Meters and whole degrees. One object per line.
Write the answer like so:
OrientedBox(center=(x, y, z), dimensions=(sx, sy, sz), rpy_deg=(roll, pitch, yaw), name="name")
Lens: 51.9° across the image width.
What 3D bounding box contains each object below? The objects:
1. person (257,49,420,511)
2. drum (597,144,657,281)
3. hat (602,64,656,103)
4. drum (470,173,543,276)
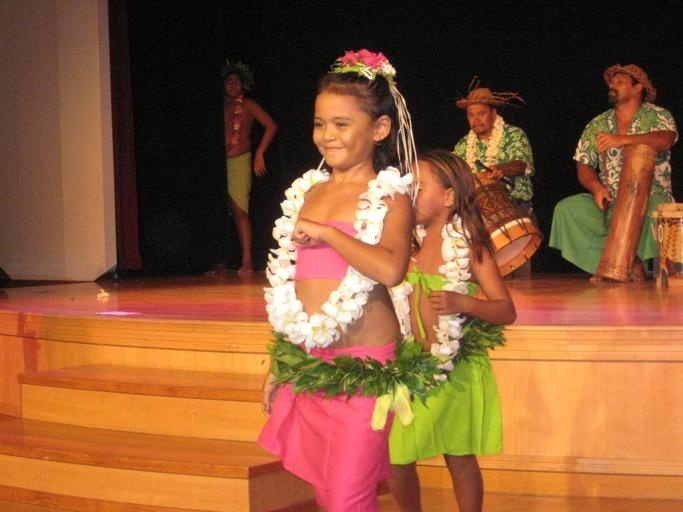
OrientedBox(center=(-0.016, 0.059, 1.958), dimensions=(0.469, 1.264, 0.322), rpy_deg=(-1, 3, 4), name="person")
OrientedBox(center=(2.028, -0.290, 4.796), dimensions=(0.372, 0.938, 0.162), rpy_deg=(0, 3, 20), name="drum")
OrientedBox(center=(2.244, -1.292, 5.209), dimensions=(0.323, 0.303, 0.340), rpy_deg=(1, 3, 38), name="hat")
OrientedBox(center=(1.310, -0.374, 5.087), dimensions=(0.445, 0.457, 0.409), rpy_deg=(-17, 1, -39), name="drum")
